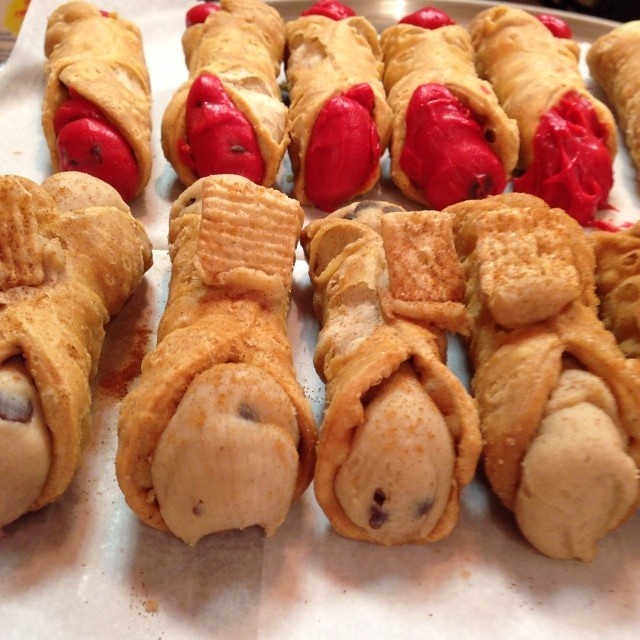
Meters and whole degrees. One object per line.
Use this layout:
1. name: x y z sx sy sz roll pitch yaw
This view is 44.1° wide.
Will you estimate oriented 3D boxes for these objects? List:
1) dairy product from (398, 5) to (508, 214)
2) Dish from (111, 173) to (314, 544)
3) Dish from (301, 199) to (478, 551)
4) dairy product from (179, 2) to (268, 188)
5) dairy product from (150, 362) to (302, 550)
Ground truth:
1. dairy product: 0.400 -0.565 2.451 0.253 0.177 0.455 -4 51 2
2. Dish: -0.243 0.105 1.788 0.493 0.367 0.970 11 46 -13
3. Dish: 0.168 0.143 1.784 0.453 0.309 0.894 10 46 -2
4. dairy product: -0.331 -0.609 2.337 0.210 0.147 0.392 -27 69 -4
5. dairy product: -0.196 0.273 1.591 0.330 0.210 0.353 -1 65 -6
